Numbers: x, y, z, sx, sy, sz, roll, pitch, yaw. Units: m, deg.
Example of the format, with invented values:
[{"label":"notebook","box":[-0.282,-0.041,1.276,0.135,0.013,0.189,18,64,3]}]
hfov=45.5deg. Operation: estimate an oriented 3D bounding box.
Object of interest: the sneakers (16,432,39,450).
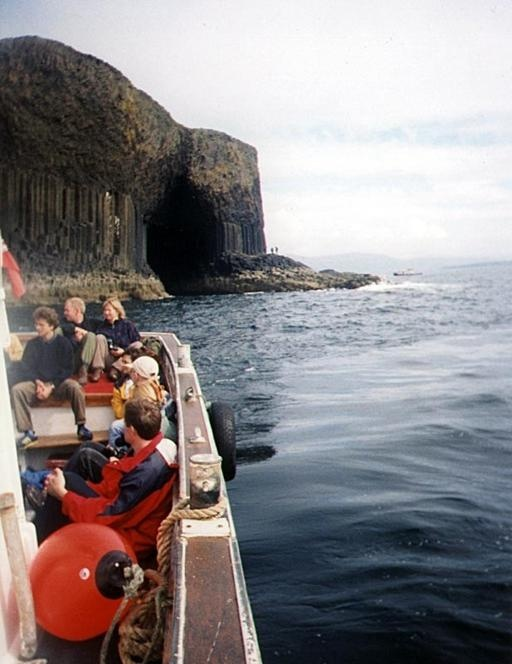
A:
[{"label":"sneakers","box":[-1.793,0.849,4.782,0.069,0.071,0.161,-14,-7,-2]}]

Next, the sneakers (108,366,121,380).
[{"label":"sneakers","box":[-1.480,0.423,6.384,0.119,0.126,0.144,7,15,24]}]

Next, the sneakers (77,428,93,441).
[{"label":"sneakers","box":[-1.472,0.868,5.240,0.090,0.089,0.240,1,-8,-22]}]

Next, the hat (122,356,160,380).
[{"label":"hat","box":[-0.822,0.264,4.374,0.198,0.102,0.142,22,14,27]}]
